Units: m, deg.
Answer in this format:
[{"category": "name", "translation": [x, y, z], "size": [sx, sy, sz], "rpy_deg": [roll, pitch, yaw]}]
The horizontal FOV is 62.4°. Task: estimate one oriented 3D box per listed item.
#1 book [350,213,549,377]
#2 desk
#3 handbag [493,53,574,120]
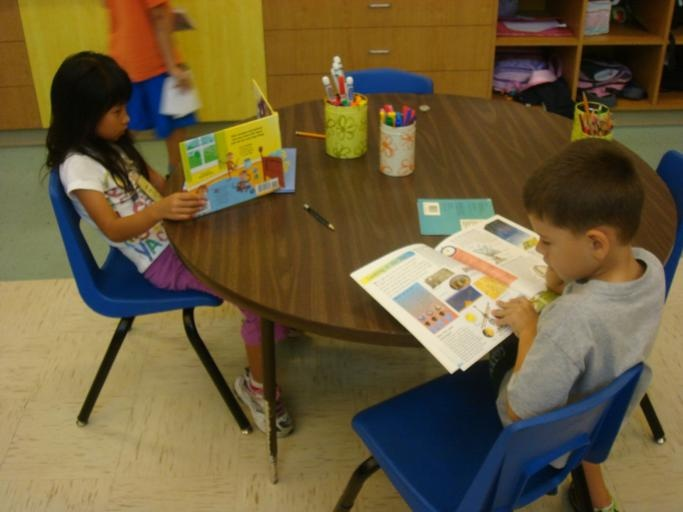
[{"category": "book", "translation": [0.280, 0.074, 1.333], "size": [0.461, 0.066, 0.327], "rpy_deg": [-24, 49, -23]}, {"category": "desk", "translation": [0.112, -0.173, 1.746], "size": [1.228, 0.632, 1.312], "rpy_deg": [3, 43, 4]}, {"category": "handbag", "translation": [1.183, -1.050, 3.442], "size": [0.538, 0.168, 0.445], "rpy_deg": [11, 47, 0]}]
